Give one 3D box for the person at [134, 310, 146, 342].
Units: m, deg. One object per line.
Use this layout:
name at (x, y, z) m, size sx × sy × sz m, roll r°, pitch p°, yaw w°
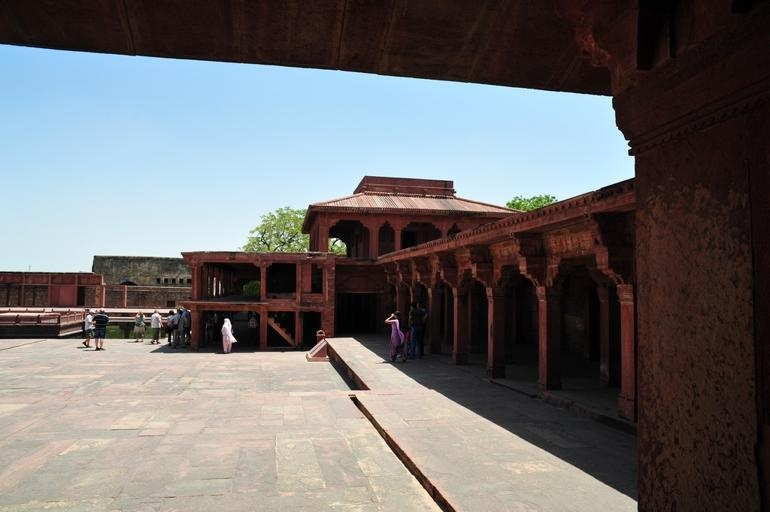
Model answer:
person at (-11.212, 3.225, 23.005) m, size 0.328 × 1.296 × 1.000 m, roll 2°, pitch -8°, yaw -29°
